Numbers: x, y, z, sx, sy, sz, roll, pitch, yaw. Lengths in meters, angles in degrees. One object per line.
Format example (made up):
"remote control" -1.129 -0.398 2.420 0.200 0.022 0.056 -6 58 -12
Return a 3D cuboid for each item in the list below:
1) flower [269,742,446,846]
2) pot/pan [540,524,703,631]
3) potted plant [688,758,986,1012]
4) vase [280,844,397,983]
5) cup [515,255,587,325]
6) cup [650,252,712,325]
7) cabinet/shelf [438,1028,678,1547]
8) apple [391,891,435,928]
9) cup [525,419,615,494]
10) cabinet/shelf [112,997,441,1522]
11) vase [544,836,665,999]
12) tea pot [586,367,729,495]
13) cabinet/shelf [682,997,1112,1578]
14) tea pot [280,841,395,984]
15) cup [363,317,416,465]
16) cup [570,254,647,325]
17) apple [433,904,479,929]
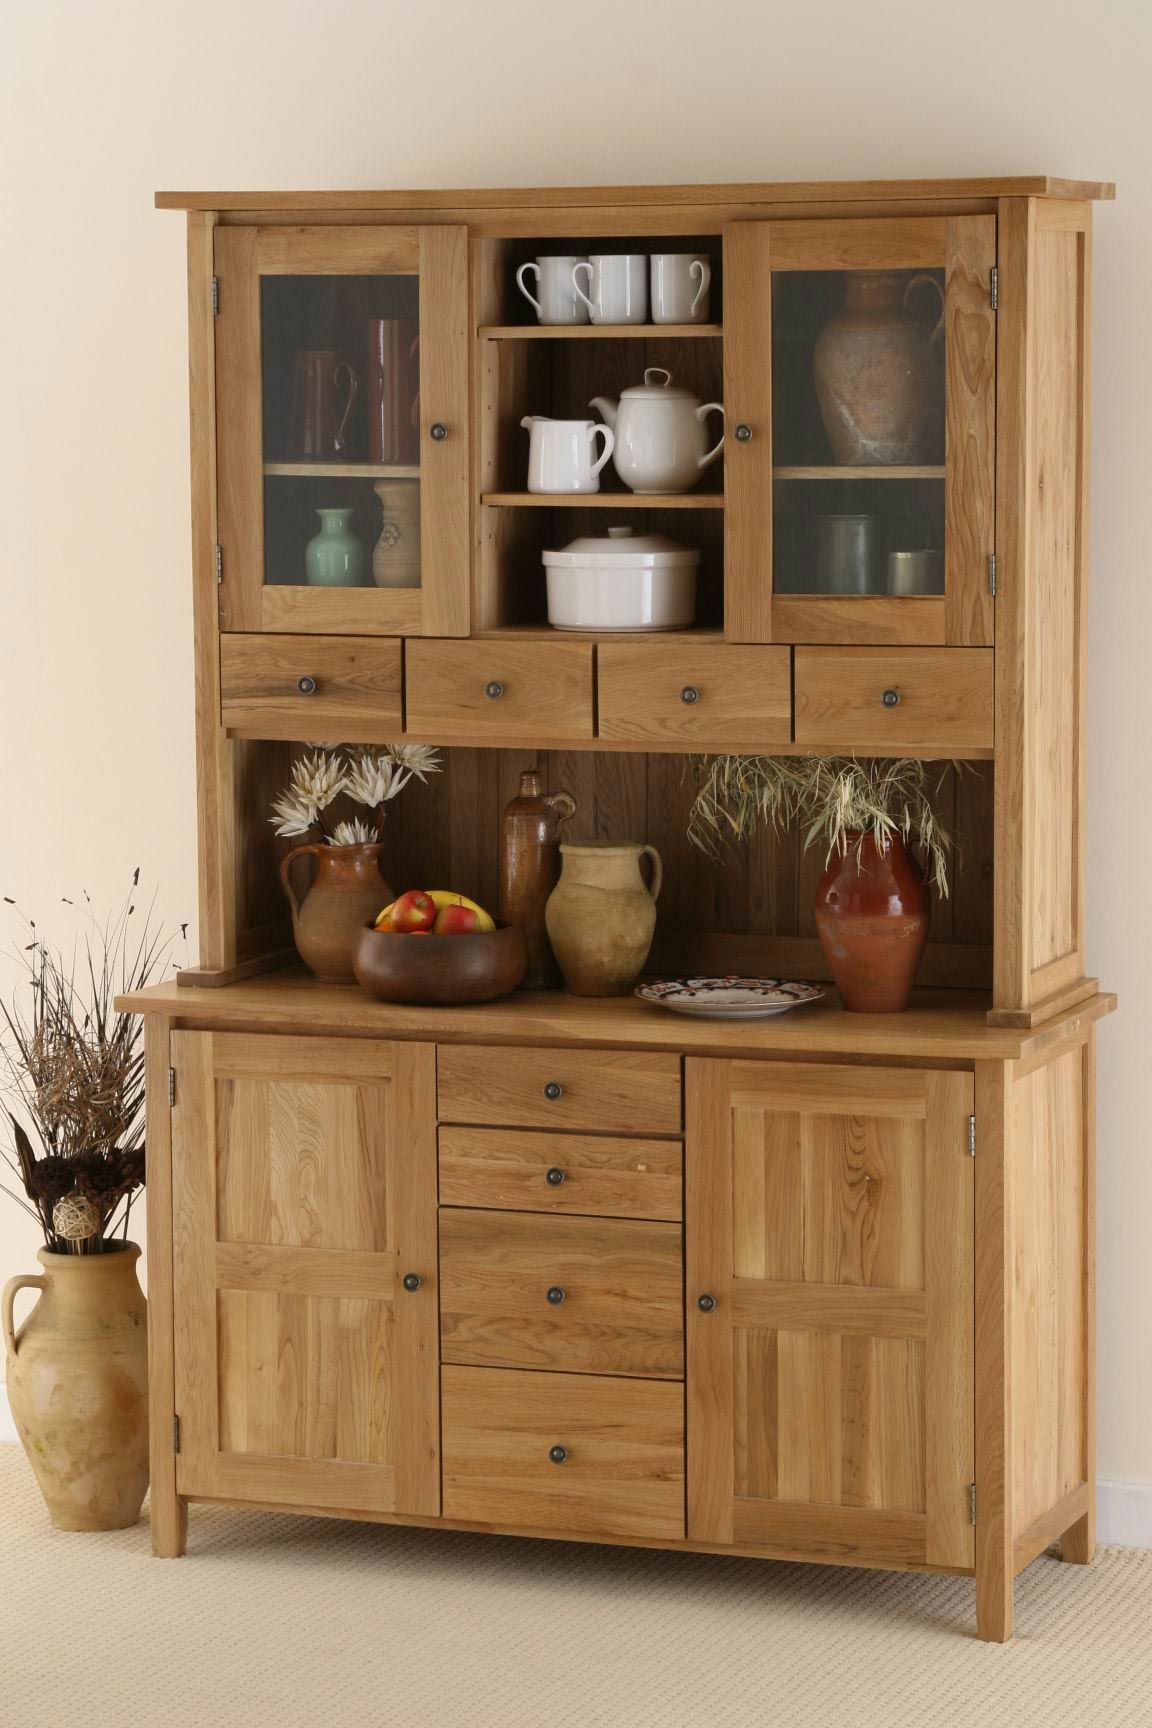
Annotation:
"flower" -0.330 -0.107 2.586 0.175 0.191 0.188 15 24 33
"pot/pan" 0.065 -0.362 2.276 0.145 0.104 0.156 -1 7 -8
"potted plant" 0.323 0.017 2.353 0.400 0.359 0.346 -1 -4 16
"vase" -0.333 0.067 2.543 0.181 0.196 0.154 4 6 34
"cup" -0.025 -0.769 2.323 0.129 0.103 0.081 -4 15 -11
"cup" 0.136 -0.740 2.230 0.066 0.094 0.101 -5 17 -19
"cabinet/shelf" -0.011 0.537 2.325 0.334 0.671 0.300 1 13 4
"apple" -0.218 0.056 2.366 0.047 0.060 0.051 9 14 38
"cup" -0.010 -0.548 2.341 0.128 0.096 0.088 9 15 25
"cabinet/shelf" -0.360 0.518 2.417 0.410 0.683 0.266 1 10 0
"vase" 0.038 0.079 2.388 0.157 0.209 0.117 0 -4 1
"tea pot" 0.117 -0.581 2.324 0.189 0.159 0.125 3 14 13
"cabinet/shelf" 0.351 0.541 2.286 0.441 0.707 0.409 -1 5 4
"tea pot" -0.341 0.068 2.539 0.191 0.195 0.152 0 3 10
"cup" -0.237 -0.616 2.267 0.064 0.191 0.063 1 14 0
"cup" 0.050 -0.744 2.241 0.110 0.097 0.071 -1 12 -3
"apple" -0.158 0.071 2.327 0.034 0.042 0.034 0 -2 -16
